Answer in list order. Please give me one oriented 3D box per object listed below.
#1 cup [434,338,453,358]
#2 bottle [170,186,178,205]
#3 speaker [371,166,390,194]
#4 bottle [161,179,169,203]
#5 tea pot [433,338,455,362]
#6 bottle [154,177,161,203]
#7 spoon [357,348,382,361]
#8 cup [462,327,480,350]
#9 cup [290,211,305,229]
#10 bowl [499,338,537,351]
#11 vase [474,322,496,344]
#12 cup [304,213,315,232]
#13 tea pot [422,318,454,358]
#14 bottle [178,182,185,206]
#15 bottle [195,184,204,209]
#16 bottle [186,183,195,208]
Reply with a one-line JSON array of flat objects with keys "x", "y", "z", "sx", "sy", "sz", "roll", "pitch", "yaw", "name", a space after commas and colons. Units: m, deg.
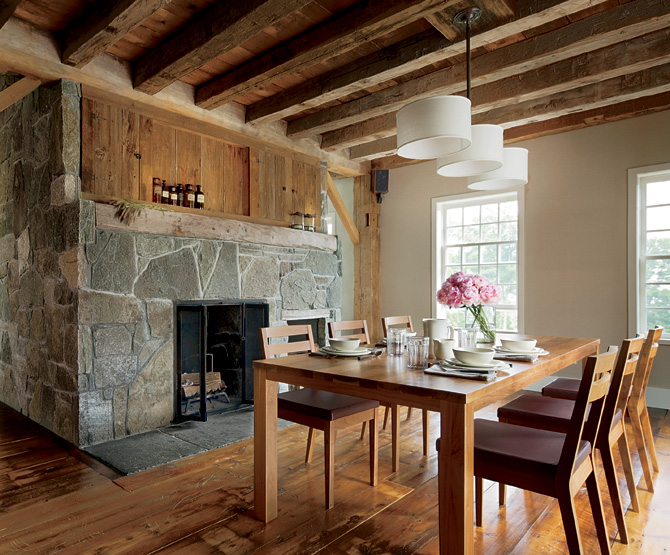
[{"x": 0.609, "y": 0.398, "z": 2.897, "sx": 0.083, "sy": 0.079, "sz": 0.105, "roll": 2, "pitch": -4, "yaw": -35, "name": "cup"}, {"x": -1.436, "y": -0.735, "z": 4.657, "sx": 0.067, "sy": 0.169, "sz": 0.065, "roll": 0, "pitch": 8, "yaw": 0, "name": "bottle"}, {"x": 0.584, "y": -1.215, "z": 6.574, "sx": 0.224, "sy": 0.310, "sz": 0.178, "roll": 0, "pitch": 8, "yaw": 3, "name": "speaker"}, {"x": -1.495, "y": -0.756, "z": 4.606, "sx": 0.060, "sy": 0.202, "sz": 0.094, "roll": -2, "pitch": 8, "yaw": -10, "name": "bottle"}, {"x": 0.615, "y": 0.401, "z": 2.887, "sx": 0.094, "sy": 0.090, "sz": 0.120, "roll": -1, "pitch": -7, "yaw": 8, "name": "tea pot"}, {"x": -1.550, "y": -0.768, "z": 4.562, "sx": 0.070, "sy": 0.216, "sz": 0.092, "roll": -1, "pitch": 8, "yaw": -9, "name": "bottle"}, {"x": 0.210, "y": 0.438, "z": 3.027, "sx": 0.047, "sy": 0.027, "sz": 0.197, "roll": 1, "pitch": 2, "yaw": 28, "name": "spoon"}, {"x": 0.775, "y": 0.347, "z": 2.992, "sx": 0.133, "sy": 0.129, "sz": 0.075, "roll": -2, "pitch": 4, "yaw": -32, "name": "cup"}, {"x": -0.388, "y": -0.601, "z": 5.493, "sx": 0.186, "sy": 0.192, "sz": 0.193, "roll": 0, "pitch": 0, "yaw": 0, "name": "cup"}, {"x": 1.096, "y": 0.391, "z": 3.080, "sx": 0.109, "sy": 0.042, "sz": 0.102, "roll": -2, "pitch": -2, "yaw": 0, "name": "bowl"}, {"x": 0.964, "y": 0.355, "z": 3.391, "sx": 0.150, "sy": 0.155, "sz": 0.154, "roll": 0, "pitch": -4, "yaw": 6, "name": "vase"}, {"x": -0.267, "y": -0.592, "z": 5.608, "sx": 0.116, "sy": 0.184, "sz": 0.388, "roll": -1, "pitch": 7, "yaw": -3, "name": "cup"}, {"x": 0.656, "y": 0.345, "z": 3.120, "sx": 0.151, "sy": 0.238, "sz": 0.243, "roll": -1, "pitch": -6, "yaw": 12, "name": "tea pot"}, {"x": -1.388, "y": -0.753, "z": 4.714, "sx": 0.051, "sy": 0.190, "sz": 0.092, "roll": -2, "pitch": 8, "yaw": -15, "name": "bottle"}, {"x": -1.243, "y": -0.753, "z": 4.813, "sx": 0.099, "sy": 0.220, "sz": 0.196, "roll": -2, "pitch": 8, "yaw": -15, "name": "bottle"}, {"x": -1.328, "y": -0.753, "z": 4.782, "sx": 0.084, "sy": 0.205, "sz": 0.123, "roll": -2, "pitch": 8, "yaw": -15, "name": "bottle"}]
